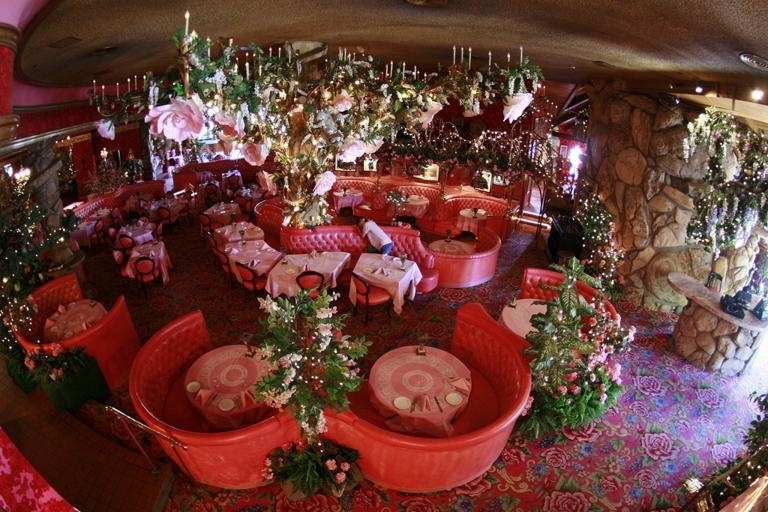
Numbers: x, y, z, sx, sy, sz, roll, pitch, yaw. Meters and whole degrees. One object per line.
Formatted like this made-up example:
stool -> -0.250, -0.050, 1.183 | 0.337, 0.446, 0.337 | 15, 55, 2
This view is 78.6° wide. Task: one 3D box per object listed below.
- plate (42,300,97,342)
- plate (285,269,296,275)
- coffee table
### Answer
plate -> -5.161, 1.071, 7.800 | 0.683, 0.291, 0.684 | 1, 34, -8
plate -> -1.828, 0.296, 9.170 | 0.117, 0.045, 0.116 | 19, 22, 35
coffee table -> 6.096, 1.357, 8.374 | 1.574, 0.968, 1.568 | 15, 15, -14
